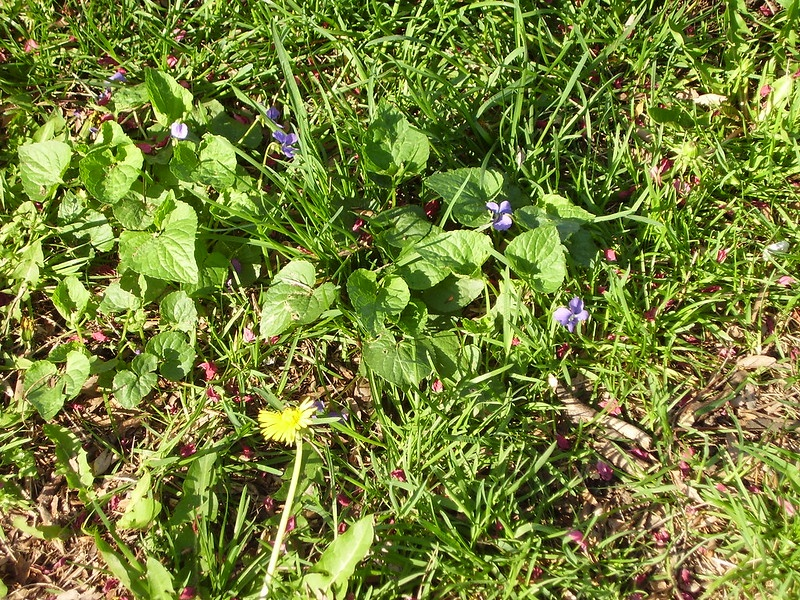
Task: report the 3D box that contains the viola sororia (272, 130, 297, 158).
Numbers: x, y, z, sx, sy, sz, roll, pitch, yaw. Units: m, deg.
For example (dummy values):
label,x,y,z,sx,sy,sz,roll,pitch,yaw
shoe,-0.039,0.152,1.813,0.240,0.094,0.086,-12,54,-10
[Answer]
label,x,y,z,sx,sy,sz,roll,pitch,yaw
viola sororia,-0.530,-0.712,3.189,0.043,0.122,0.133,-2,67,16

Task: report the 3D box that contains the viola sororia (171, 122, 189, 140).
label,x,y,z,sx,sy,sz,roll,pitch,yaw
viola sororia,-0.982,-0.749,3.125,0.067,0.026,0.087,1,94,7
